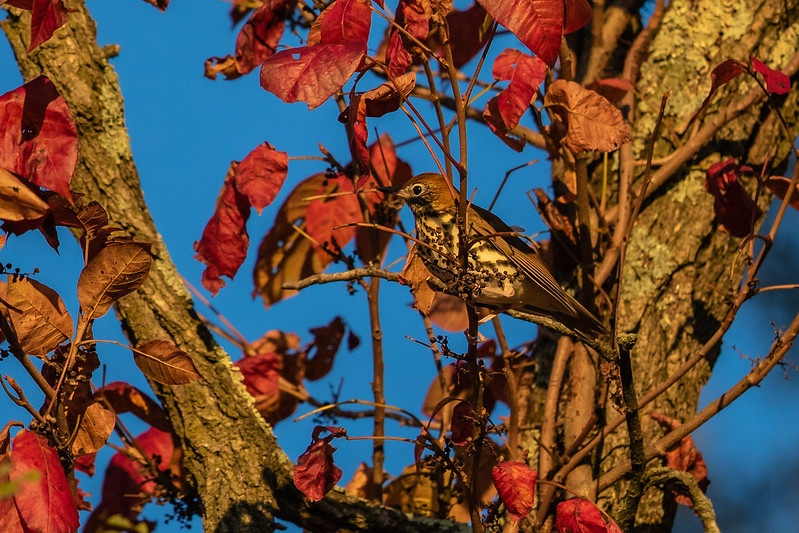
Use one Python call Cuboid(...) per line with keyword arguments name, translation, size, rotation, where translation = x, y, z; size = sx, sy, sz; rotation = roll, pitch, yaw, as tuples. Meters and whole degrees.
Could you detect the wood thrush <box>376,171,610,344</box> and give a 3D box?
Cuboid(name="wood thrush", translation=(0.459, -0.050, 9.368), size=(1.177, 0.766, 0.432), rotation=(10, -27, -21))
